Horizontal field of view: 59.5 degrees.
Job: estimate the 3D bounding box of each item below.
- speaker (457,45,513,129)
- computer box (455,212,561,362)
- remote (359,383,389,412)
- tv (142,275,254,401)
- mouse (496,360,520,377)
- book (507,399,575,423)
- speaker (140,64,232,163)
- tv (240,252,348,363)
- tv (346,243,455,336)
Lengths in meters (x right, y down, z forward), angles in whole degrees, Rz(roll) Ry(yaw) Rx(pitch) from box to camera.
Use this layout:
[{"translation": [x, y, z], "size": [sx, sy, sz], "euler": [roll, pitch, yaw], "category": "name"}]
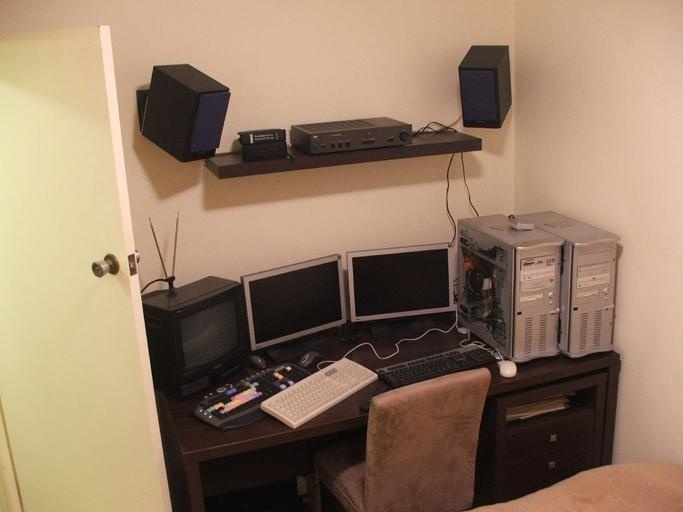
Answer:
[{"translation": [0.759, -0.910, 3.183], "size": [0.301, 0.512, 0.386], "euler": [0, 51, 15], "category": "speaker"}, {"translation": [0.868, 0.144, 3.106], "size": [0.340, 0.586, 0.578], "euler": [-6, 16, -9], "category": "computer box"}, {"translation": [0.140, 0.636, 2.706], "size": [0.116, 0.030, 0.127], "euler": [-28, 8, 43], "category": "remote"}, {"translation": [-0.658, 0.358, 2.963], "size": [0.521, 0.526, 0.482], "euler": [8, 16, 33], "category": "tv"}, {"translation": [0.791, 0.522, 2.819], "size": [0.073, 0.050, 0.073], "euler": [-2, 14, 0], "category": "mouse"}, {"translation": [0.975, 0.765, 2.985], "size": [0.157, 0.039, 0.162], "euler": [-6, 14, 8], "category": "book"}, {"translation": [-0.720, -0.659, 2.782], "size": [0.387, 0.421, 0.241], "euler": [8, 16, 41], "category": "speaker"}, {"translation": [-0.254, 0.283, 3.079], "size": [0.447, 0.401, 0.171], "euler": [-17, 21, -25], "category": "tv"}, {"translation": [0.322, 0.182, 3.220], "size": [0.468, 0.322, 0.040], "euler": [-5, 10, -11], "category": "tv"}]
